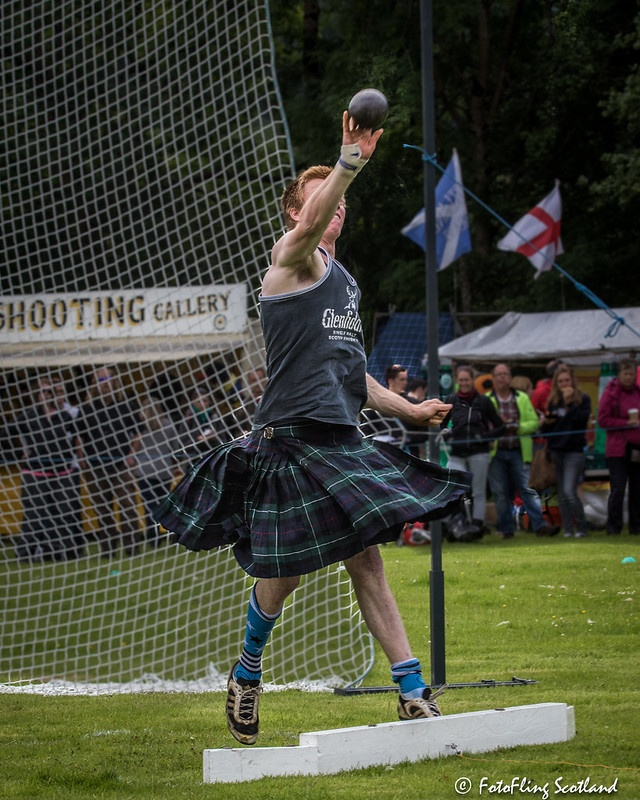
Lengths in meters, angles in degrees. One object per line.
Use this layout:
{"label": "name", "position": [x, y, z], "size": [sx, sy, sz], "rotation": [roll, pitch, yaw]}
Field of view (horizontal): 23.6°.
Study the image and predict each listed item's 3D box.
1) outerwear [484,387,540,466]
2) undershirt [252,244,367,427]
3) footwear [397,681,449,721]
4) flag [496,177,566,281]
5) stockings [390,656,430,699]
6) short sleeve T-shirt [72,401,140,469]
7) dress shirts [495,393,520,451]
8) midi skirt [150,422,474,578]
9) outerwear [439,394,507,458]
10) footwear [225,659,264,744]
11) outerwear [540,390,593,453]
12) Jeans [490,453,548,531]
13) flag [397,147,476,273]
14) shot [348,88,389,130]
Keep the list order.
{"label": "outerwear", "position": [1.409, 0.213, 11.281], "size": [0.631, 0.660, 0.392], "rotation": [0, -9, 4]}
{"label": "undershirt", "position": [-0.019, -0.225, 5.881], "size": [0.467, 0.676, 0.308], "rotation": [-2, 8, -11]}
{"label": "footwear", "position": [0.388, 1.170, 5.862], "size": [0.086, 0.113, 0.243], "rotation": [2, -13, -43]}
{"label": "flag", "position": [1.259, -0.991, 8.750], "size": [0.388, 0.594, 0.085], "rotation": [19, 34, 7]}
{"label": "stockings", "position": [0.342, 1.057, 5.809], "size": [0.138, 0.155, 0.054], "rotation": [0, 8, 3]}
{"label": "short sleeve T-shirt", "position": [-1.322, 0.221, 9.461], "size": [0.490, 0.401, 0.250], "rotation": [-2, -9, -2]}
{"label": "dress shirts", "position": [1.400, 0.163, 11.296], "size": [0.278, 0.322, 0.360], "rotation": [-1, -15, 0]}
{"label": "midi skirt", "position": [-0.083, 0.374, 5.845], "size": [0.936, 0.373, 0.759], "rotation": [-9, 3, 41]}
{"label": "outerwear", "position": [1.062, 0.188, 10.651], "size": [0.536, 0.458, 0.286], "rotation": [-1, -2, 15]}
{"label": "footwear", "position": [-0.311, 1.161, 5.920], "size": [0.121, 0.316, 0.149], "rotation": [2, -32, -21]}
{"label": "outerwear", "position": [1.738, 0.157, 10.720], "size": [0.376, 0.420, 0.307], "rotation": [-9, -24, 31]}
{"label": "Jeans", "position": [1.455, 0.638, 11.396], "size": [0.358, 0.846, 0.203], "rotation": [-6, 16, 15]}
{"label": "flag", "position": [0.590, -0.948, 7.543], "size": [0.364, 0.052, 0.806], "rotation": [8, -38, 9]}
{"label": "shot", "position": [0.176, -1.074, 5.669], "size": [0.144, 0.162, 0.212], "rotation": [-1, 7, 0]}
